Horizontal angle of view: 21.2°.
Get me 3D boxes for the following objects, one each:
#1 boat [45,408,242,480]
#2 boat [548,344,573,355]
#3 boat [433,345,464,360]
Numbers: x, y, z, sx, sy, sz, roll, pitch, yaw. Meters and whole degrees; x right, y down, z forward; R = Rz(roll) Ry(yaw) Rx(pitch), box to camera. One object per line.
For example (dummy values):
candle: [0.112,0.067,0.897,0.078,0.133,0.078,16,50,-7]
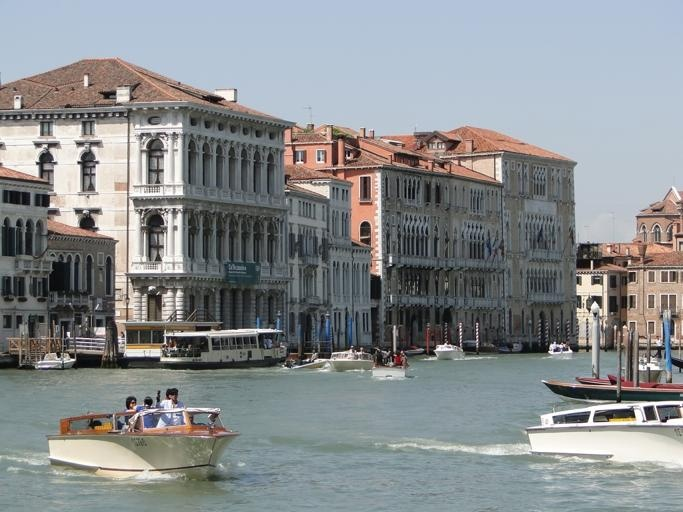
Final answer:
boat: [-7.036,6.918,66.664,7.482,2.253,4.639,-3,-10,40]
boat: [18.471,8.134,154.903,1.196,0.619,1.763,1,-1,-5]
boat: [7.862,7.324,135.567,2.351,1.085,1.221,3,-8,-30]
